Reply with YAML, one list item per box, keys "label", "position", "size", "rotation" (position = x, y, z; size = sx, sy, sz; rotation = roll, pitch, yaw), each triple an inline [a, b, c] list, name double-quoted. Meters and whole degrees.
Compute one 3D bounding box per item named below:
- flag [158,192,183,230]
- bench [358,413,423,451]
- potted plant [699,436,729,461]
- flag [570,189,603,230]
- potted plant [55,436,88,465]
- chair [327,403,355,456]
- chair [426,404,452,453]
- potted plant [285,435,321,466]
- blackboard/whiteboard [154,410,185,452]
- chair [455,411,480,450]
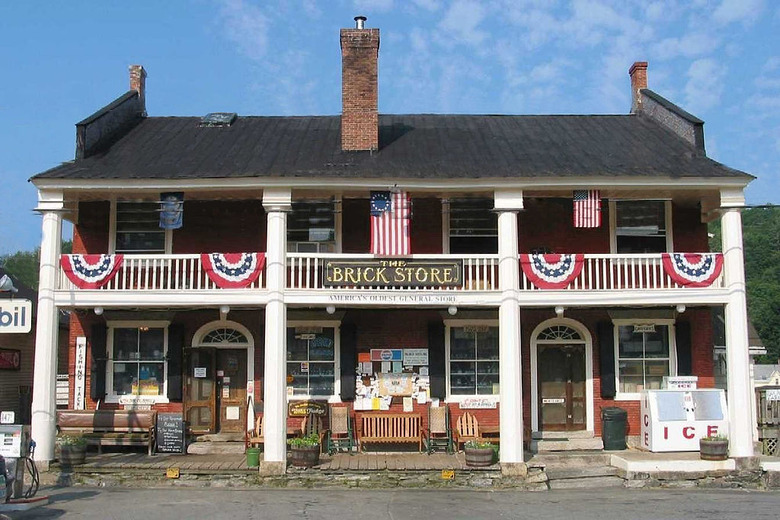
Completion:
- label: "flag"
  position: [-7.136, -1.572, 36.948]
  size: [0.868, 1.255, 0.718]
  rotation: [-4, -20, 7]
- label: "bench"
  position: [0.047, 5.805, 38.032]
  size: [2.181, 1.333, 0.739]
  rotation: [-1, -14, -2]
- label: "potted plant"
  position: [10.549, 6.135, 36.266]
  size: [0.747, 0.532, 0.739]
  rotation: [3, -10, -18]
- label: "flag"
  position: [6.551, -1.737, 36.966]
  size: [1.242, 1.572, 0.314]
  rotation: [1, -3, 0]
- label: "potted plant"
  position: [-10.324, 6.179, 36.243]
  size: [0.836, 0.824, 0.837]
  rotation: [-9, -16, 28]
- label: "chair"
  position: [-1.577, 5.837, 38.407]
  size: [1.074, 1.670, 1.124]
  rotation: [2, -11, -7]
- label: "chair"
  position: [1.688, 5.696, 38.007]
  size: [0.882, 1.558, 0.468]
  rotation: [1, -14, -12]
- label: "potted plant"
  position: [-2.715, 6.223, 36.263]
  size: [1.038, 0.719, 1.051]
  rotation: [5, 6, 29]
- label: "blackboard/whiteboard"
  position: [-7.425, 5.806, 37.674]
  size: [1.310, 1.682, 0.174]
  rotation: [-1, -9, -5]
- label: "chair"
  position: [2.621, 5.648, 37.857]
  size: [1.021, 1.378, 1.017]
  rotation: [0, -13, -1]
